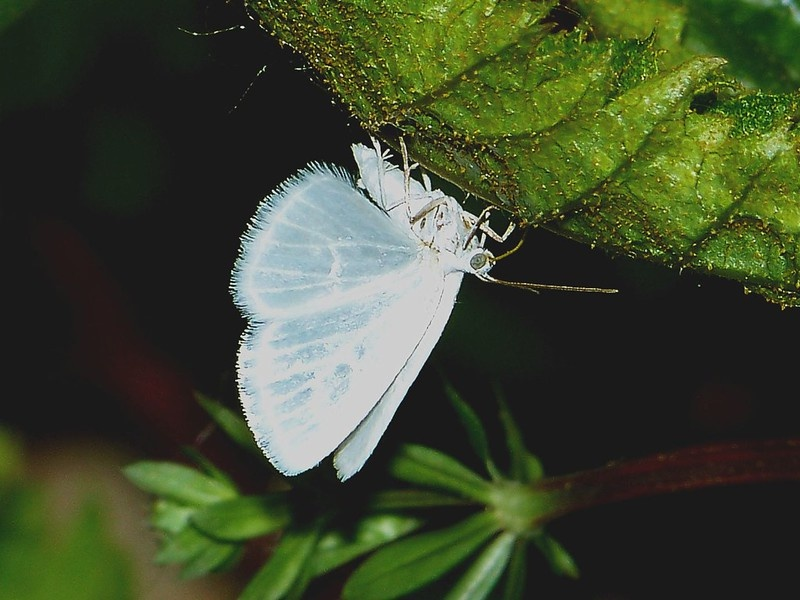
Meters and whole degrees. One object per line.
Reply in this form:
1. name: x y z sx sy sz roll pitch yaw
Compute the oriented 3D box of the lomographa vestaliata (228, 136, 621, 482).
1. lomographa vestaliata: -0.053 0.011 1.012 0.289 0.290 0.306 22 -42 -24
